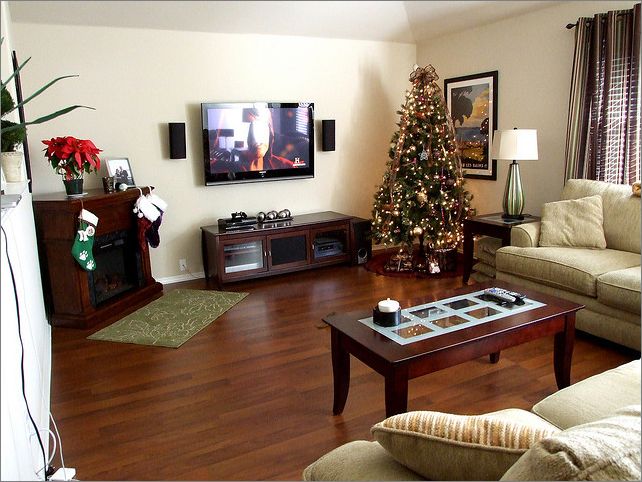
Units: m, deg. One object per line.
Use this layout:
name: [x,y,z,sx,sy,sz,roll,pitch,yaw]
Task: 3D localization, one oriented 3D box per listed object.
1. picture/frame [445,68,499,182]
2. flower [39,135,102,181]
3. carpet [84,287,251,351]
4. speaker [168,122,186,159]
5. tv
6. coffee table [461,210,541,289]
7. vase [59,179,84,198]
picture/frame: [1.901,-1.451,5.902,0.174,1.288,0.844,-7,15,-23]
flower: [-2.254,-0.700,4.192,0.392,0.312,0.433,-5,-10,-7]
carpet: [-1.383,0.703,4.458,0.906,0.048,1.323,3,16,18]
speaker: [-1.584,-1.108,5.205,0.212,0.412,0.192,-8,15,-25]
tv: [-0.797,-1.181,5.531,0.955,0.702,0.043,-9,21,-24]
coffee table: [1.912,0.026,4.988,0.684,0.687,0.554,-20,22,-37]
vase: [-2.253,-0.486,4.252,0.172,0.139,0.160,-8,13,-42]
